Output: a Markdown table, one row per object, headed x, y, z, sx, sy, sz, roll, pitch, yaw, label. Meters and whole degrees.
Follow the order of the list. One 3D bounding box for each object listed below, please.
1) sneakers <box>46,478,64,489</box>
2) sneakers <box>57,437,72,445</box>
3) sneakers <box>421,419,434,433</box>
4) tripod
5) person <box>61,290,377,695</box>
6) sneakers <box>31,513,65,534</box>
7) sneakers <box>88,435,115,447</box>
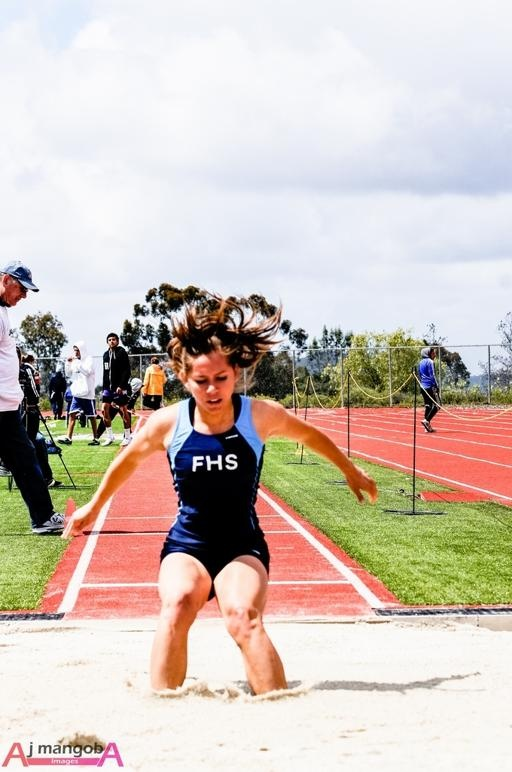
| x | y | z | sx | sy | sz | roll | pitch | yaw | label |
| --- | --- | --- | --- | --- | --- | --- | --- | --- | --- |
| -2.269 | 1.093 | 8.588 | 0.219 | 0.154 | 0.074 | 0 | 6 | -15 | sneakers |
| -3.750 | 1.087 | 14.771 | 0.327 | 0.159 | 0.117 | 6 | 9 | -1 | sneakers |
| 4.229 | 0.981 | 18.666 | 0.136 | 0.321 | 0.107 | -23 | 32 | 13 | sneakers |
| -2.289 | 0.662 | 8.189 | 0.180 | 0.677 | 0.690 | -15 | -16 | 12 | tripod |
| -0.122 | 0.346 | 2.795 | 1.010 | 1.408 | 0.750 | 1 | 0 | -13 | person |
| -1.585 | 1.064 | 5.904 | 0.297 | 0.136 | 0.117 | -2 | 5 | -3 | sneakers |
| -3.027 | 1.093 | 15.006 | 0.205 | 0.236 | 0.559 | -8 | -12 | 37 | sneakers |
